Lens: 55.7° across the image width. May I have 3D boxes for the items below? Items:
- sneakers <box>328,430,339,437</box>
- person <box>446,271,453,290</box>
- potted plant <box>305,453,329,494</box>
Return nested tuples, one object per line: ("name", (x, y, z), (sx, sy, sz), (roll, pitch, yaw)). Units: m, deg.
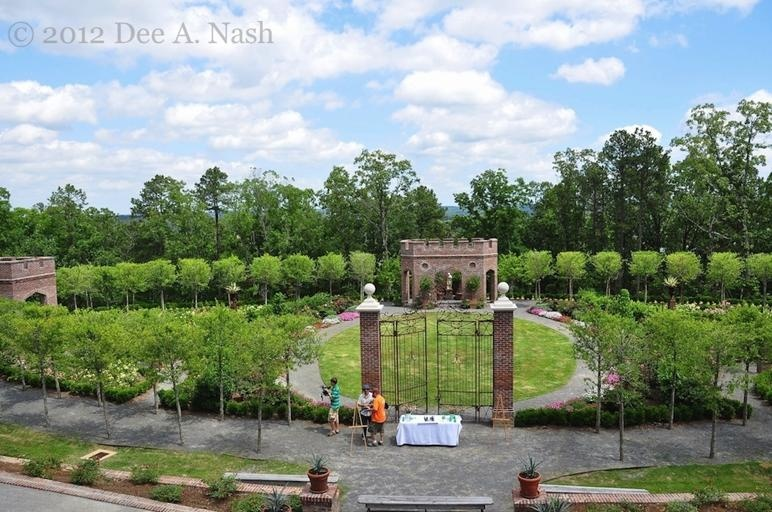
("sneakers", (-2.512, 8.527, 35.282), (0.525, 0.174, 0.179), (2, -1, -15))
("person", (5.578, 2.144, 63.394), (0.543, 1.516, 0.289), (-1, 13, -5))
("potted plant", (-2.774, 8.883, 29.985), (1.267, 1.467, 1.299), (0, -6, -8))
